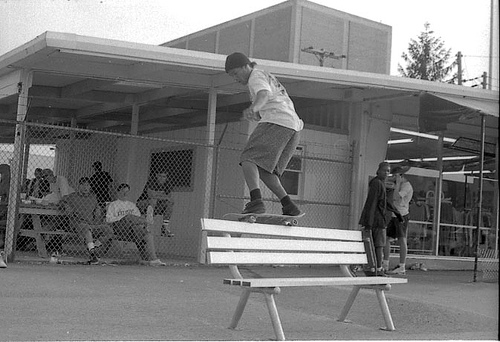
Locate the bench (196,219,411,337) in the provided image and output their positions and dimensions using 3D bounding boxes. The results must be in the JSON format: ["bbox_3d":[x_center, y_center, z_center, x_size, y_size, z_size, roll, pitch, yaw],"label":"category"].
[{"bbox_3d":[0.449,1.508,10.996,4.415,2.127,1.937,7,-10,-34],"label":"bench"}]

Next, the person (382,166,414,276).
[{"bbox_3d":[3.704,1.139,16.120,0.919,2.823,0.959,0,5,6],"label":"person"}]
